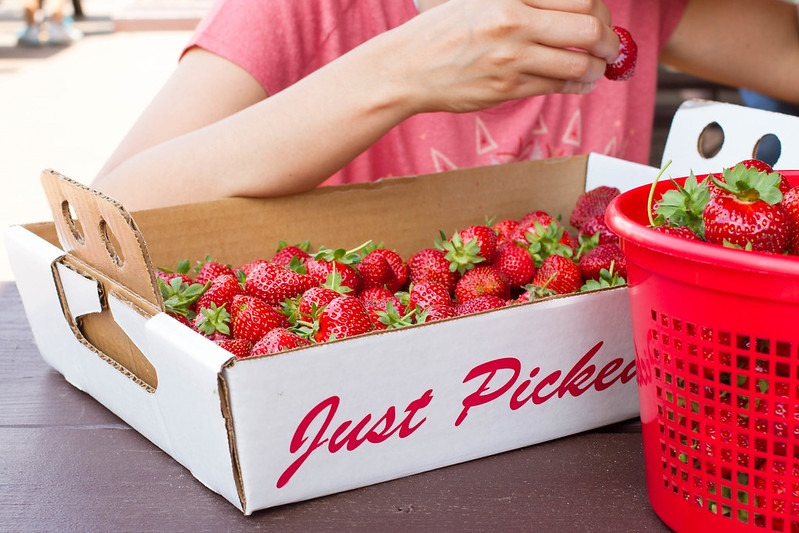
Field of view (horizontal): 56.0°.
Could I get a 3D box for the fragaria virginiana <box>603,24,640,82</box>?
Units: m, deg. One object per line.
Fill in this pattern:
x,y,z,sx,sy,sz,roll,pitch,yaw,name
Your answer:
0.423,-0.407,1.437,0.074,0.098,0.025,-6,10,-16,fragaria virginiana
